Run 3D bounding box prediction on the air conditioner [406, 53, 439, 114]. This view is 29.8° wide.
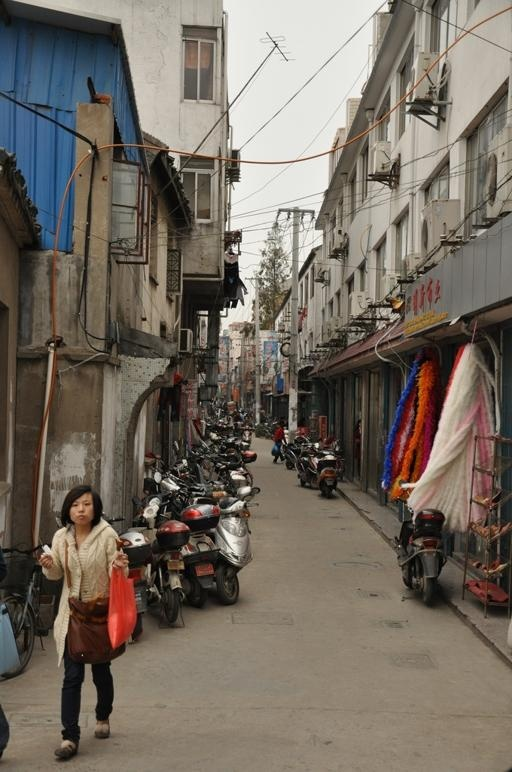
[{"bbox_3d":[2.234,-4.211,12.863,0.290,0.869,0.894,3,13,2],"label":"air conditioner"}]

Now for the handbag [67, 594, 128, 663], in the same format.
[{"bbox_3d":[-0.882,1.305,5.315,0.299,0.417,0.182,-7,16,-24],"label":"handbag"}]

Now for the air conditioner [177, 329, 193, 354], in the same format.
[{"bbox_3d":[-1.536,-0.933,20.430,0.272,0.543,1.351,1,1,-6],"label":"air conditioner"}]

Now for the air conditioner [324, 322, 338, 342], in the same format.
[{"bbox_3d":[1.989,-1.417,25.456,0.263,0.719,0.630,1,-5,0],"label":"air conditioner"}]

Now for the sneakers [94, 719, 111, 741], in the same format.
[{"bbox_3d":[-0.877,1.939,5.447,0.043,0.066,0.139,3,-2,2],"label":"sneakers"}]

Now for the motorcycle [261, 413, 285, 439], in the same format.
[{"bbox_3d":[0.585,1.942,46.057,1.362,1.101,0.726,1,2,-20],"label":"motorcycle"}]

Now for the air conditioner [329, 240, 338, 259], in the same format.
[{"bbox_3d":[1.997,-3.509,24.686,0.256,0.325,0.420,1,-4,0],"label":"air conditioner"}]

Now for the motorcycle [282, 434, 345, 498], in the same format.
[{"bbox_3d":[1.264,1.788,21.185,0.737,1.181,2.001,3,-3,-6],"label":"motorcycle"}]

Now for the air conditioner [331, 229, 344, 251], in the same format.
[{"bbox_3d":[2.094,-3.687,24.373,0.256,0.616,0.903,1,1,3],"label":"air conditioner"}]
